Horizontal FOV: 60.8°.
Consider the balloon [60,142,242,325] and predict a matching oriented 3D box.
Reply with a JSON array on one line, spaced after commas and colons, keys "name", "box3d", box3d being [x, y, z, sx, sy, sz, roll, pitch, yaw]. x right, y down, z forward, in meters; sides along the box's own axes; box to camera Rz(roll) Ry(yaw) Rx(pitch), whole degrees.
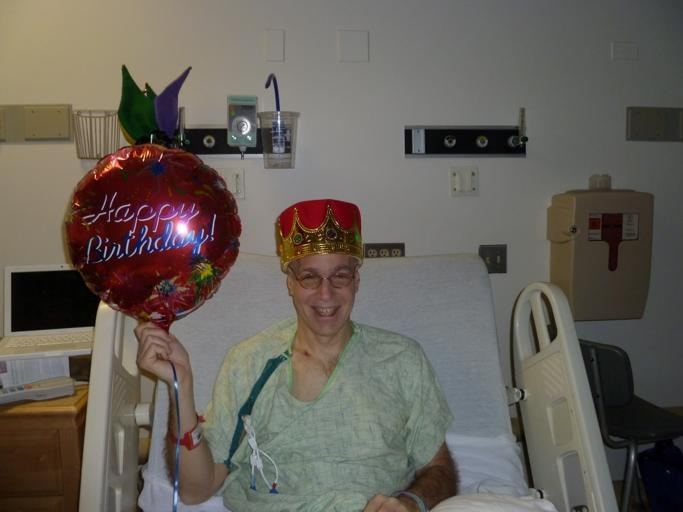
[{"name": "balloon", "box3d": [-0.670, 0.038, 2.112, 0.544, 0.893, 0.572, 0, 17, -21]}]

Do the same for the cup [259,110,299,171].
[{"name": "cup", "box3d": [-0.327, -0.634, 3.115, 0.244, 0.334, 0.255, 0, 12, 0]}]

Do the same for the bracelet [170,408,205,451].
[{"name": "bracelet", "box3d": [-0.533, 0.583, 2.018, 0.109, 0.085, 0.146, 6, 4, -35]}]

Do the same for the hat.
[{"name": "hat", "box3d": [-0.080, -0.088, 2.260, 0.276, 0.270, 0.168, 4, 24, -14]}]
